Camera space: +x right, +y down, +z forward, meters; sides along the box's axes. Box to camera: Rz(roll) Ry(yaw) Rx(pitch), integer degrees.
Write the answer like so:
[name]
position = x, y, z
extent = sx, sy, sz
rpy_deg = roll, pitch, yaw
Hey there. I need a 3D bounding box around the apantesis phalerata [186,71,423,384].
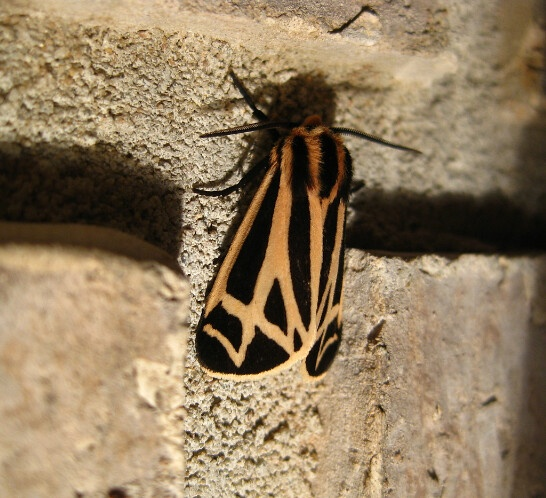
[apantesis phalerata]
position = 0.031, 0.055, 2.731
extent = 0.410, 0.433, 1.126
rpy_deg = 23, 73, -41
